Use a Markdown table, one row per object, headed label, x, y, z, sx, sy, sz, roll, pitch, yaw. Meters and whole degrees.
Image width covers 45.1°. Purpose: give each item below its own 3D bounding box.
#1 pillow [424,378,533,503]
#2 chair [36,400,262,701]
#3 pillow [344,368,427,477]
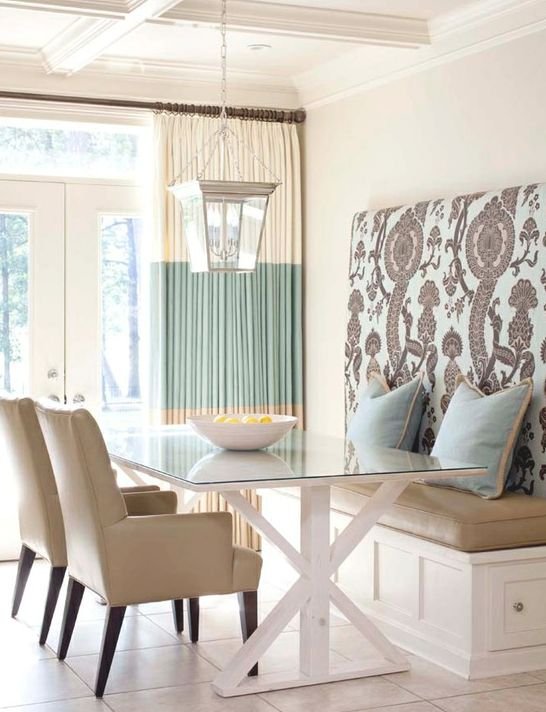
| label | x | y | z | sx | sy | sz | roll | pitch | yaw |
| --- | --- | --- | --- | --- | --- | --- | --- | --- | --- |
| pillow | 0.771 | 0.309 | 2.562 | 0.240 | 0.486 | 0.465 | 10 | -7 | -22 |
| chair | -0.423 | 0.503 | 2.356 | 0.754 | 1.137 | 0.742 | 0 | 0 | -24 |
| pillow | 0.502 | 0.343 | 3.151 | 0.220 | 0.467 | 0.482 | 4 | -6 | -20 |
